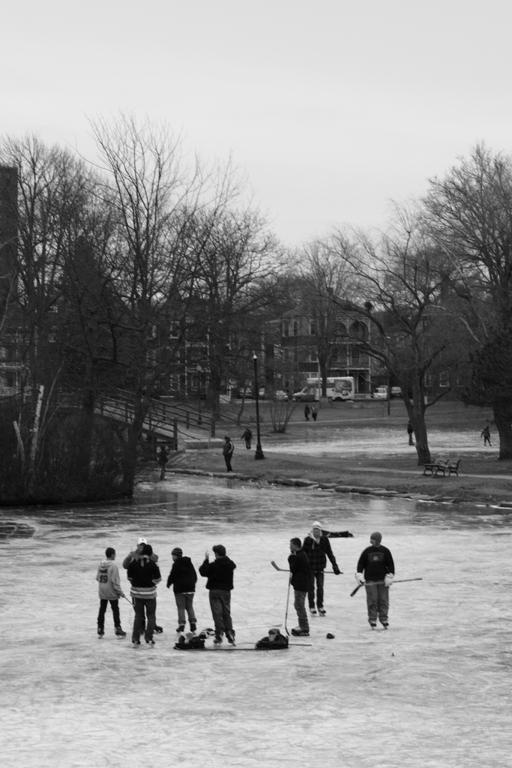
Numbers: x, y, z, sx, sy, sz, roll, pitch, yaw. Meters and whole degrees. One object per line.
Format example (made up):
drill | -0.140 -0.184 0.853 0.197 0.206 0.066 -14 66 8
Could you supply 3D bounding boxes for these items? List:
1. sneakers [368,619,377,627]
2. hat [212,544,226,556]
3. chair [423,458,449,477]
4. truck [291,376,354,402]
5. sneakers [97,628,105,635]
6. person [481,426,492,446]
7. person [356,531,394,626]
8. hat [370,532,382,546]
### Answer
sneakers | 1.608 3.191 20.277 0.058 0.097 0.198 -1 -11 -3
hat | -0.438 2.045 18.733 0.118 0.186 0.166 2 24 -14
chair | 5.884 2.584 48.374 0.634 0.681 0.516 -9 -13 41
truck | 6.408 -0.275 133.976 5.415 3.055 2.354 1 0 -9
sneakers | -2.018 3.193 19.537 0.084 0.159 0.086 0 -4 -8
person | 11.851 2.535 76.280 0.508 1.126 0.411 6 33 26
person | 1.617 2.534 19.923 0.453 1.376 0.347 -4 19 0
hat | 1.602 2.004 19.668 0.162 0.247 0.222 3 14 2
